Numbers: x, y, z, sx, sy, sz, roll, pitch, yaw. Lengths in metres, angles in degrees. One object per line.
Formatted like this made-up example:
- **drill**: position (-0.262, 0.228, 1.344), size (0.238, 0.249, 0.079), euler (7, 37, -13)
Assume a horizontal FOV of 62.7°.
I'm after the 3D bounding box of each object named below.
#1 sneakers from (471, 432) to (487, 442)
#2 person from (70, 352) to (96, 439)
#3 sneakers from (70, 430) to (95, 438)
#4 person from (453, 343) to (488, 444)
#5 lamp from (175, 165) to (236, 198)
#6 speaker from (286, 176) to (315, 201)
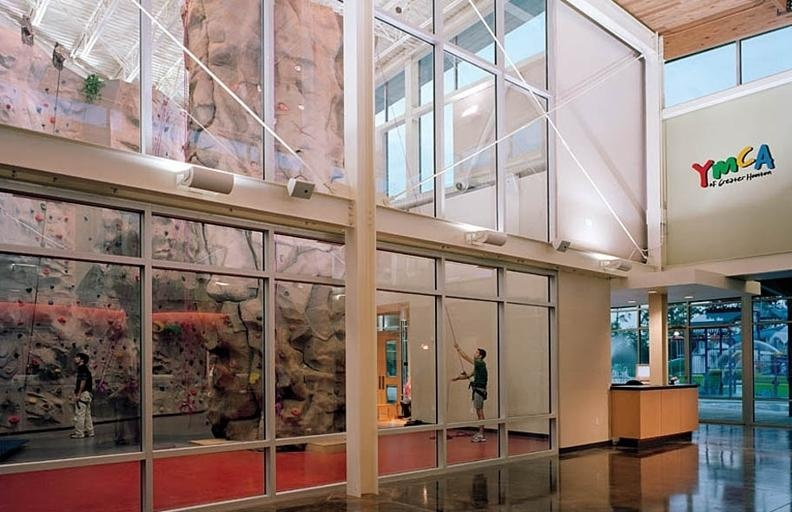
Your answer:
- **sneakers**: position (1.594, 3.544, 12.589), size (0.119, 0.158, 0.366), euler (-9, -20, 37)
- **person**: position (-4.342, 1.944, 9.058), size (0.261, 1.164, 0.104), euler (2, -3, -28)
- **sneakers**: position (-4.366, 2.492, 9.036), size (0.259, 0.114, 0.094), euler (9, -11, -26)
- **person**: position (1.518, 2.477, 12.668), size (0.215, 1.416, 0.790), euler (-1, -3, 41)
- **lamp**: position (-2.706, -0.948, 9.112), size (0.595, 0.225, 0.404), euler (7, -1, -42)
- **speaker**: position (-1.448, -1.069, 9.953), size (0.474, 0.270, 0.338), euler (6, -45, -37)
